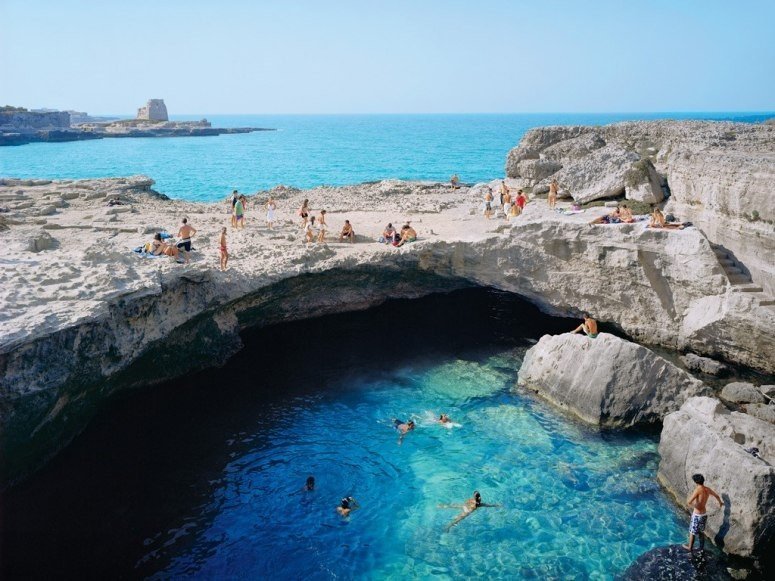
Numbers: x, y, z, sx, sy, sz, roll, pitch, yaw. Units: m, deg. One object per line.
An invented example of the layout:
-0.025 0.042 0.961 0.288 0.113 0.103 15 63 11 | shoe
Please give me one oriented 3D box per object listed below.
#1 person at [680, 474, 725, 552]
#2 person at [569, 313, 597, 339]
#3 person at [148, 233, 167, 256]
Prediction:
8.100 5.660 12.818 1.103 1.873 0.734 -17 24 -37 | person
7.881 1.415 19.893 0.856 0.648 0.843 -6 25 -6 | person
-9.006 -1.815 19.760 0.740 0.924 0.401 6 -16 6 | person
